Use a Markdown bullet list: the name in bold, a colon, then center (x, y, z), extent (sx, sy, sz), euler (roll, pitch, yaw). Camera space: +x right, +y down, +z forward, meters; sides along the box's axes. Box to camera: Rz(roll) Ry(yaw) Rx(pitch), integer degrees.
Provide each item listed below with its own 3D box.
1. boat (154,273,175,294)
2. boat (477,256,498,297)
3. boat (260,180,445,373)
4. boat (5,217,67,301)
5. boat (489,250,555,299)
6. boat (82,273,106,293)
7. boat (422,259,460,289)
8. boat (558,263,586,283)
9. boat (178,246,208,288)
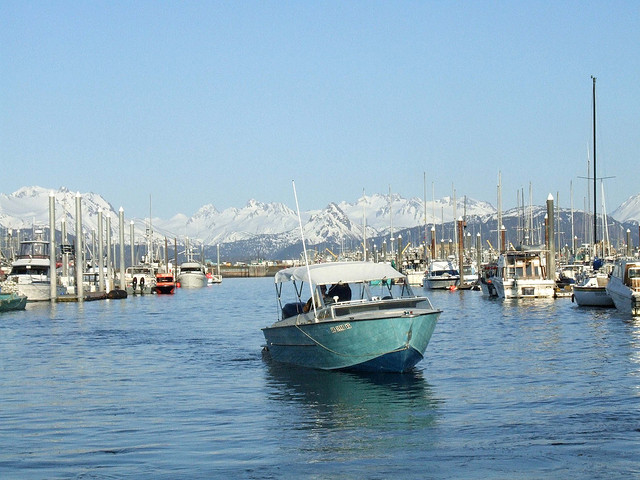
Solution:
- **boat**: center (-16.390, 4.665, 125.515), extent (2.013, 2.104, 2.842), euler (-1, 4, -8)
- **boat**: center (14.304, 2.834, 101.393), extent (1.575, 2.380, 6.007), euler (1, 8, 9)
- **boat**: center (1.121, 3.082, 49.106), extent (3.962, 4.596, 7.408), euler (-4, 6, -39)
- **boat**: center (-23.664, 2.496, 97.039), extent (2.679, 4.954, 4.574), euler (3, 6, 43)
- **boat**: center (15.168, 2.595, 89.942), extent (3.246, 2.806, 7.439), euler (-1, -4, 2)
- **boat**: center (-21.603, 4.410, 114.067), extent (2.456, 2.455, 1.985), euler (0, 2, -6)
- **boat**: center (12.314, 3.497, 122.899), extent (3.092, 3.189, 8.556), euler (1, 1, -1)
- **boat**: center (24.522, 3.080, 117.963), extent (2.742, 2.015, 8.082), euler (-2, -8, 6)
- **boat**: center (-18.096, 3.394, 169.159), extent (3.929, 6.680, 15.984), euler (-1, 2, -2)
